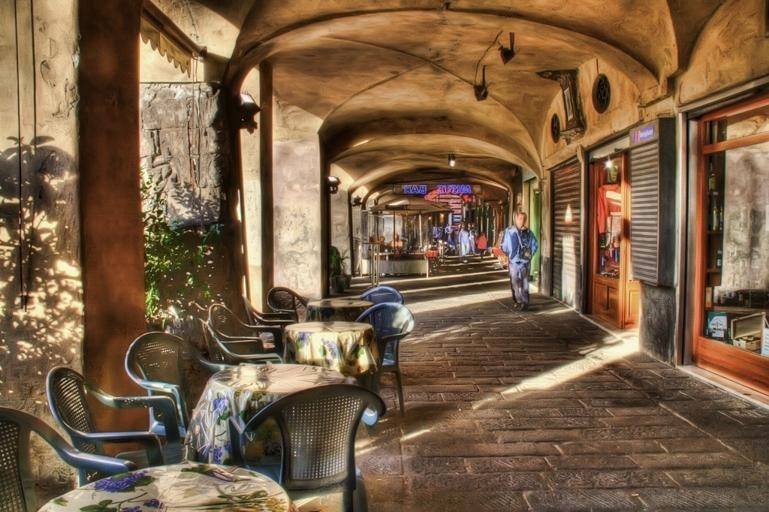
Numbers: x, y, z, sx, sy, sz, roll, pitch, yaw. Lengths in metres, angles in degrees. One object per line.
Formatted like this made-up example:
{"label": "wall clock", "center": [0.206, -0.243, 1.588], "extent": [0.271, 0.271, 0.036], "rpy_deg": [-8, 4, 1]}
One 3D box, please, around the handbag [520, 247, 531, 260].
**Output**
{"label": "handbag", "center": [2.957, -0.041, 12.056], "extent": [0.269, 0.281, 0.081], "rpy_deg": [-4, 8, -24]}

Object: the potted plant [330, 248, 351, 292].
{"label": "potted plant", "center": [-1.209, 0.369, 15.610], "extent": [0.473, 1.199, 0.984], "rpy_deg": [0, 7, 3]}

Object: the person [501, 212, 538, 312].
{"label": "person", "center": [2.881, 0.099, 12.445], "extent": [0.679, 2.068, 0.959], "rpy_deg": [1, 7, 15]}

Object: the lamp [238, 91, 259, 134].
{"label": "lamp", "center": [-2.011, -2.155, 8.645], "extent": [0.280, 0.595, 0.376], "rpy_deg": [-2, 7, -11]}
